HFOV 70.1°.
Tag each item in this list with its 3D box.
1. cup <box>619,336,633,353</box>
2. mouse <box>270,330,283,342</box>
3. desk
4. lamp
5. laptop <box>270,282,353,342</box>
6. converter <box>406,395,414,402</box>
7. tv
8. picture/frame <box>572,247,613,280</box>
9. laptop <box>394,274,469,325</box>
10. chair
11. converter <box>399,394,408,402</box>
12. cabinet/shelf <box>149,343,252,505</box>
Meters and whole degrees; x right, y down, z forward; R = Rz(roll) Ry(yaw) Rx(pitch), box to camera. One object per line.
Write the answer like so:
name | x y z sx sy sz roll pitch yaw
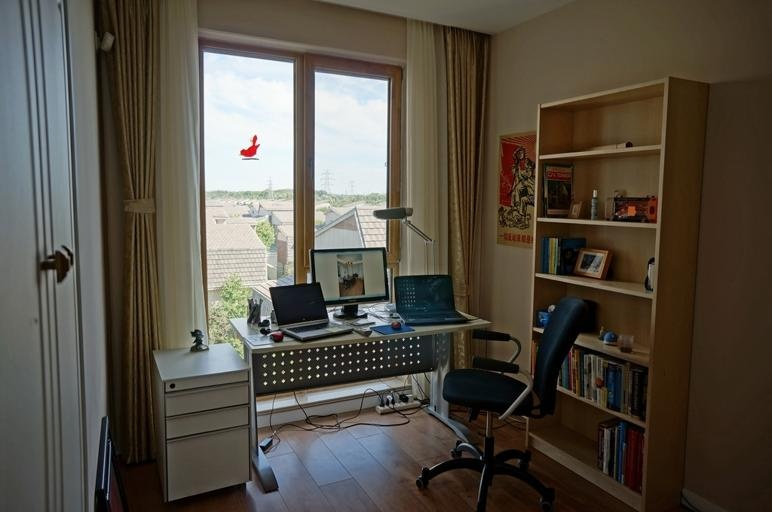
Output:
cup | 1.554 0.578 3.558 0.084 0.100 0.090 1 -2 0
mouse | -0.697 0.525 3.545 0.081 0.046 0.094 -2 12 -10
desk | -0.264 0.879 4.201 1.860 1.001 1.021 -3 8 -24
lamp | 0.184 -0.107 4.470 0.364 0.622 0.699 4 12 14
laptop | -0.494 0.363 3.709 0.533 0.291 0.515 4 7 27
converter | 0.210 1.222 4.706 0.038 0.030 0.038 2 -3 -33
tv | -0.278 0.204 4.046 0.501 0.443 0.181 -1 -2 -27
picture/frame | 1.445 0.063 3.824 0.038 0.192 0.212 18 -11 -31
laptop | 0.328 0.317 3.998 0.465 0.300 0.359 -2 7 -15
chair | 0.828 0.907 3.951 1.232 1.681 1.189 2 -1 -6
converter | 0.151 1.191 4.657 0.087 0.060 0.049 5 -6 -34
cabinet/shelf | -1.098 1.044 3.648 0.651 1.014 0.784 -1 1 -25
